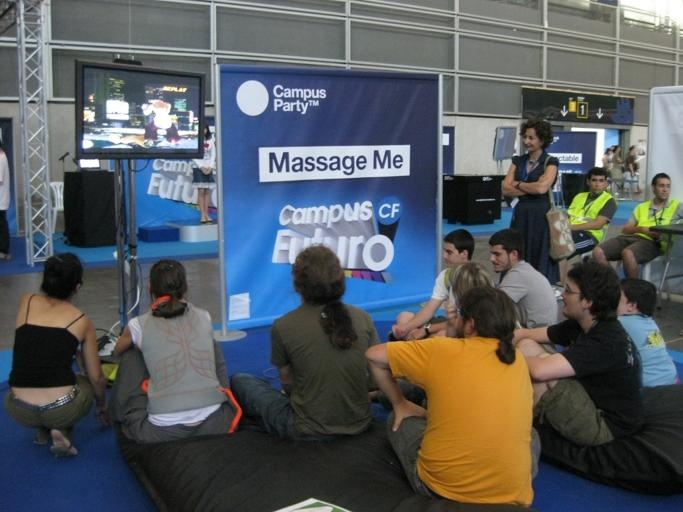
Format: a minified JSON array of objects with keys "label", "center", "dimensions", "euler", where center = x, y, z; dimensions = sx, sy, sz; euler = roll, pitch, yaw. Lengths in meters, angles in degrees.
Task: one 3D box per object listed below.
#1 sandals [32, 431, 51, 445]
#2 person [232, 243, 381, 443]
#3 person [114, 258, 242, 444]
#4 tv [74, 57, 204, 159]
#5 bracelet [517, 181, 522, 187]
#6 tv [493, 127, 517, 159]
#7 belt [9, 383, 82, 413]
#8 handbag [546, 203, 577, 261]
[{"label":"sandals","center":[-1.741,1.047,3.450],"dimensions":[0.046,0.066,0.144],"euler":[4,6,-3]},{"label":"person","center":[-0.162,0.469,3.274],"dimensions":[0.851,1.079,0.766],"euler":[-8,11,-31]},{"label":"person","center":[-0.927,0.519,3.502],"dimensions":[0.839,1.122,0.874],"euler":[-3,14,-19]},{"label":"tv","center":[-1.474,-1.048,4.315],"dimensions":[0.970,0.709,0.094],"euler":[-7,16,-37]},{"label":"bracelet","center":[1.712,-0.689,5.686],"dimensions":[0.036,0.058,0.074],"euler":[3,6,15]},{"label":"tv","center":[4.292,-2.990,15.590],"dimensions":[0.120,0.855,1.095],"euler":[17,21,38]},{"label":"belt","center":[-1.601,0.799,3.272],"dimensions":[0.183,0.062,0.195],"euler":[0,14,-5]},{"label":"handbag","center":[2.127,-0.216,5.743],"dimensions":[0.254,0.623,0.489],"euler":[-14,1,24]}]
